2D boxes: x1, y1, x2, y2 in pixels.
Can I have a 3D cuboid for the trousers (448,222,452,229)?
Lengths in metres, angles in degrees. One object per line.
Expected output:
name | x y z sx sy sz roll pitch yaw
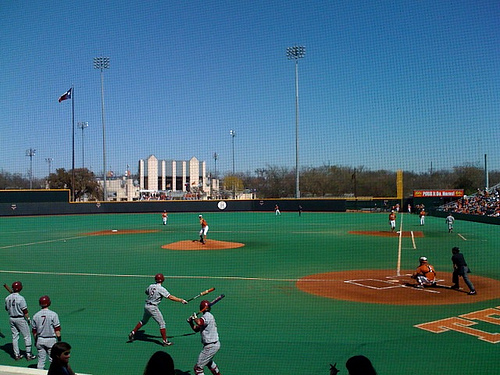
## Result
trousers | 14.481 2.748 43.851 0.312 0.588 0.344 2 -4 -12

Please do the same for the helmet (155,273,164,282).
helmet | -2.985 3.002 19.962 0.253 0.228 0.406 -1 -1 -12

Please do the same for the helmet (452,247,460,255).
helmet | 8.346 2.568 24.379 0.259 0.395 0.380 -1 -3 12

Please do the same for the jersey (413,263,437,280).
jersey | 7.252 3.466 25.124 0.678 0.532 0.661 2 18 0

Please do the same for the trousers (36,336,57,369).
trousers | -5.977 4.916 17.798 0.700 1.051 0.396 -2 -2 33

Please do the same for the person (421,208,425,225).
person | 14.209 2.466 49.886 0.261 1.187 2.002 -1 -1 12

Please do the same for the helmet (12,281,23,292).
helmet | -7.259 3.090 18.831 0.210 0.267 0.302 1 4 -12

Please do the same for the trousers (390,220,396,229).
trousers | 10.693 2.743 45.297 0.432 0.904 0.636 5 -2 12

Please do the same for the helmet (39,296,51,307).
helmet | -6.090 3.410 18.000 0.217 0.266 0.302 1 2 -6

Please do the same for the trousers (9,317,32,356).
trousers | -7.184 4.688 18.976 0.645 1.265 0.588 -1 -1 9

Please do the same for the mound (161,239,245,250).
mound | -3.019 3.647 38.335 4.661 0.276 4.536 -1 -1 4

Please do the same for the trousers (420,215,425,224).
trousers | 14.204 2.629 49.815 0.241 0.721 0.992 -1 -1 20

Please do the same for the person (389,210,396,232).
person | 10.747 2.609 45.785 0.408 1.472 2.366 -1 -1 13

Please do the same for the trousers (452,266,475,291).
trousers | 8.434 3.602 24.072 0.437 0.964 0.897 0 -2 -25

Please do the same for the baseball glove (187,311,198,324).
baseball glove | -1.710 3.835 17.582 0.345 0.127 0.360 -10 14 41

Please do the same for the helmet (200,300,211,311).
helmet | -1.291 3.372 17.421 0.291 0.322 0.230 -11 17 -34

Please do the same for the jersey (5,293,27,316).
jersey | -7.218 3.646 18.679 0.613 0.710 0.282 -1 -2 19

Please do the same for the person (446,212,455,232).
person | 14.645 2.657 44.316 0.372 1.275 2.133 -1 -1 18
